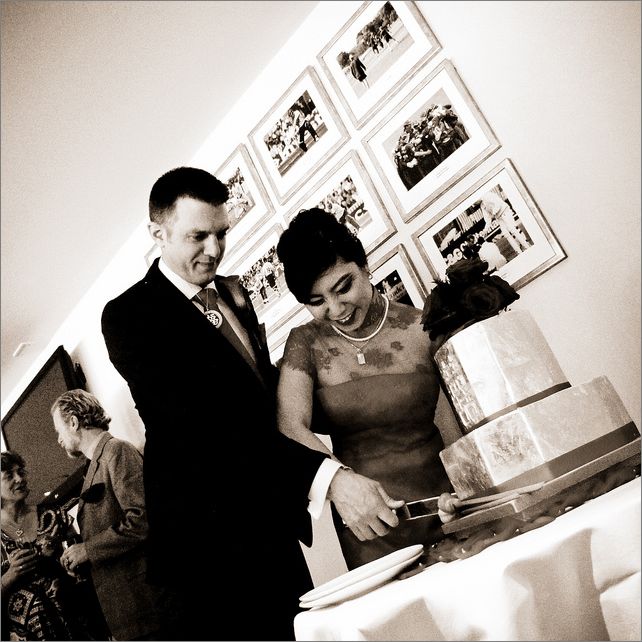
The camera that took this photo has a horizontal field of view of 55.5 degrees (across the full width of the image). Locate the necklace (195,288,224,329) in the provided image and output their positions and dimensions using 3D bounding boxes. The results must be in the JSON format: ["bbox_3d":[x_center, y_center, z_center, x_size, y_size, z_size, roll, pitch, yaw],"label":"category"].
[{"bbox_3d":[-0.353,-0.041,1.940,0.076,0.133,0.032,6,-33,-44],"label":"necklace"}]

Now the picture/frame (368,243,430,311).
[{"bbox_3d":[0.301,-0.157,2.278,0.012,0.171,0.176,-5,-41,-45],"label":"picture/frame"}]

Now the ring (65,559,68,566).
[{"bbox_3d":[-1.153,1.105,2.773,0.014,0.024,0.008,4,23,13],"label":"ring"}]

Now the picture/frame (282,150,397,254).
[{"bbox_3d":[0.100,-0.472,2.407,0.015,0.302,0.424,-3,-44,-44],"label":"picture/frame"}]

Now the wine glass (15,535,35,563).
[{"bbox_3d":[-1.447,1.115,2.976,0.058,0.128,0.114,-12,-11,-26],"label":"wine glass"}]

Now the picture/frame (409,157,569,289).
[{"bbox_3d":[0.604,-0.336,2.113,0.342,0.357,0.012,-39,-25,30],"label":"picture/frame"}]

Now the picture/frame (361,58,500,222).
[{"bbox_3d":[0.445,-0.693,2.352,0.454,0.502,0.030,-37,-21,31],"label":"picture/frame"}]
